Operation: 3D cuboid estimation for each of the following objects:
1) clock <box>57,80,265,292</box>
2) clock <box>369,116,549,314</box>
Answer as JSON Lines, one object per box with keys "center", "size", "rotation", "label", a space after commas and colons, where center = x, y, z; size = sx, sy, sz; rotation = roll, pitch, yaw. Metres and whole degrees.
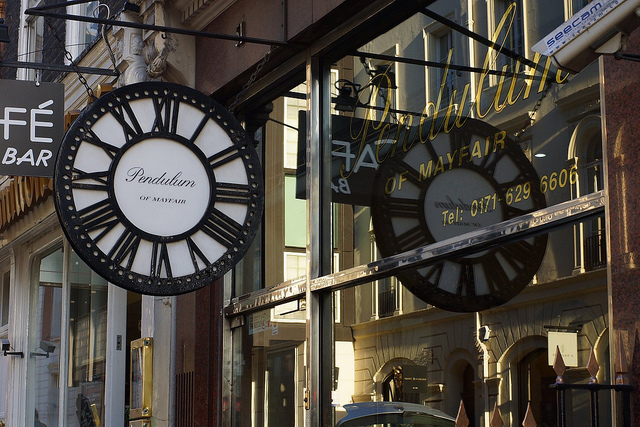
{"center": [-1.479, -0.263, 18.680], "size": [2.192, 2.048, 0.189], "rotation": [9, -19, -19], "label": "clock"}
{"center": [1.376, 0.035, 17.818], "size": [1.400, 1.551, 0.173], "rotation": [-34, -26, 27], "label": "clock"}
